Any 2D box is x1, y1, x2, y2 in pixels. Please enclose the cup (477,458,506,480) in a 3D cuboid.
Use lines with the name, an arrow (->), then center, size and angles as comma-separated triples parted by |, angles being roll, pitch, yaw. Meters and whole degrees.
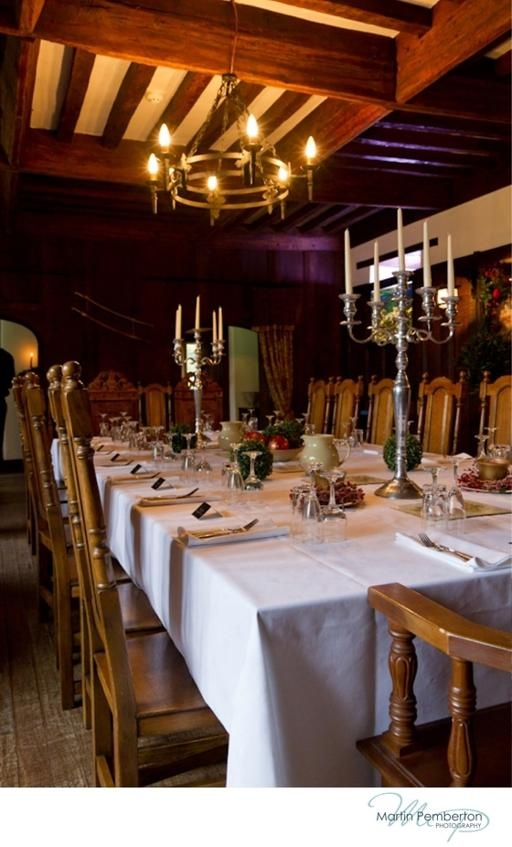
cup -> 0.775, 0.150, 1.871 | 0.064, 0.049, 0.069 | 0, -6, 0

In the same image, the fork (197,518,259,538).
fork -> -0.059, 0.219, 1.237 | 0.130, 0.033, 0.040 | 5, 2, -34

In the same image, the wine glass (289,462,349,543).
wine glass -> 0.130, 0.189, 1.285 | 0.088, 0.182, 0.163 | -4, -6, 39

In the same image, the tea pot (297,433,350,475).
tea pot -> 0.224, 0.095, 1.837 | 0.172, 0.188, 0.147 | 2, -4, 0
